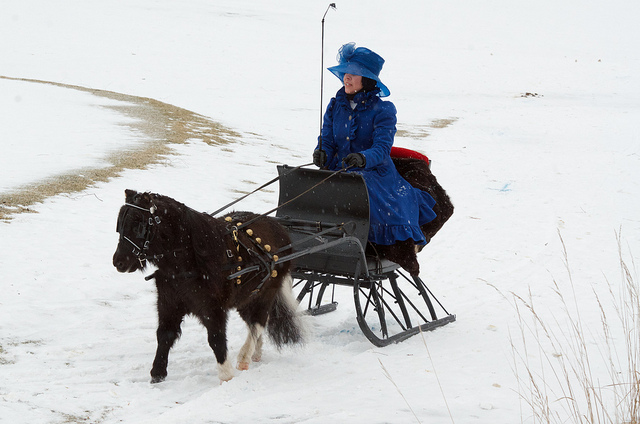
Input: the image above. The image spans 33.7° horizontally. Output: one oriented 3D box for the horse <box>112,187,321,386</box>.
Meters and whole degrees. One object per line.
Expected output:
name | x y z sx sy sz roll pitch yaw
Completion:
horse | -1.363 2.761 48.457 14.138 9.129 4.744 3 -10 -26
